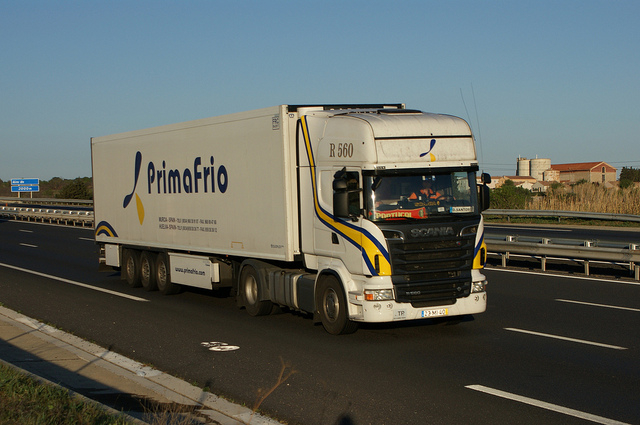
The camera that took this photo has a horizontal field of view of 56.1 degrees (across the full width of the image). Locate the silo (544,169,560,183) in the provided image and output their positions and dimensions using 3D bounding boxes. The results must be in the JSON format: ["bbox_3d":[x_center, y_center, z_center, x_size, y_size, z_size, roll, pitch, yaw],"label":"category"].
[{"bbox_3d":[51.840,-8.337,134.507,2.550,3.858,3.467,-3,5,-43],"label":"silo"}]

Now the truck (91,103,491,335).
[{"bbox_3d":[-2.097,-0.155,17.646,3.547,5.347,14.524,-5,6,-44],"label":"truck"}]

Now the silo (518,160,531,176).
[{"bbox_3d":[50.348,-11.073,147.372,1.901,3.669,7.447,-1,4,9],"label":"silo"}]

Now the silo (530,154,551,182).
[{"bbox_3d":[52.194,-9.549,142.589,3.901,6.875,3.949,2,9,33],"label":"silo"}]
